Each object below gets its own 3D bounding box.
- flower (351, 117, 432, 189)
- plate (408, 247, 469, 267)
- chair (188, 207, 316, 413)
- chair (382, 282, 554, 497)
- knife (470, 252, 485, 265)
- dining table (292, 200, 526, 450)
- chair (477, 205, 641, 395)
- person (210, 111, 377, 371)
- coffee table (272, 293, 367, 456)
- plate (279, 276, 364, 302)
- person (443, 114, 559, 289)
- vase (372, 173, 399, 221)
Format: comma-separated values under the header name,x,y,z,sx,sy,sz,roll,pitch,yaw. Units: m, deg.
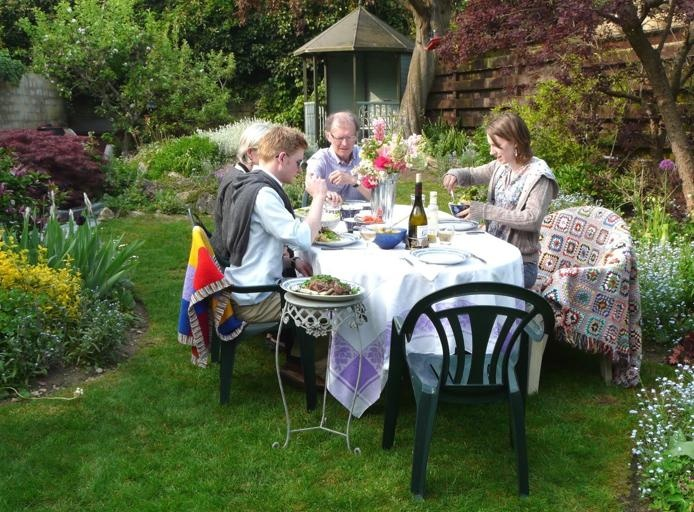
name,x,y,z,sx,sy,sz,roll,pitch,yaw
flower,0.324,-0.783,4.616,0.500,0.576,0.630,-2,30,36
plate,0.631,0.005,3.928,0.320,0.087,0.363,0,9,-27
chair,-0.623,0.343,5.051,1.283,2.089,1.188,-2,7,-11
chair,0.734,0.743,3.725,0.995,1.402,1.048,5,12,21
knife,0.885,0.017,3.900,0.034,0.026,0.173,-24,27,1
dining table,0.298,0.411,4.133,0.961,0.768,1.353,-2,22,-6
chair,1.919,0.221,4.740,0.799,0.991,0.811,-13,28,-4
person,-0.507,-0.375,4.672,1.104,2.221,1.288,-8,23,-27
coffee table,-0.162,0.793,3.903,0.605,1.018,0.558,4,0,-35
plate,-0.175,0.201,3.730,0.550,0.137,0.261,7,8,22
person,1.241,-0.279,4.879,0.874,1.764,0.950,-6,12,-30
vase,0.313,-0.462,4.714,0.212,0.390,0.227,-2,-1,36
